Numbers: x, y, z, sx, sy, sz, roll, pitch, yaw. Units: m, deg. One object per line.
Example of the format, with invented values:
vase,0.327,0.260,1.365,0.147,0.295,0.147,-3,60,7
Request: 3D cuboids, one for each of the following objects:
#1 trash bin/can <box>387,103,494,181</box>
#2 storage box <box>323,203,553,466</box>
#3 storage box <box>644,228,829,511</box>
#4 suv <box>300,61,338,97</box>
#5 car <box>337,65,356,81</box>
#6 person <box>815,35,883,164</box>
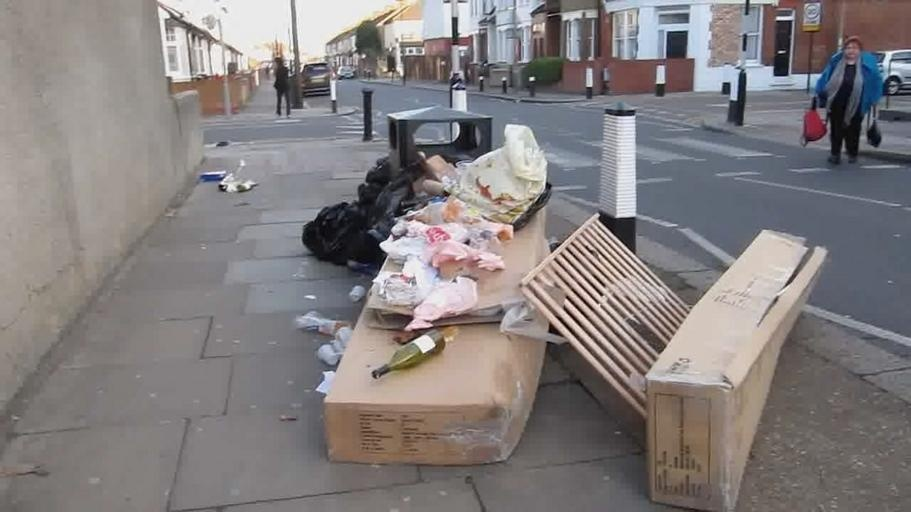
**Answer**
trash bin/can,-0.251,-1.486,9.087,1.067,0.832,1.059,-2,8,-11
storage box,-0.198,0.828,6.532,1.698,0.592,3.091,4,21,5
storage box,2.271,0.969,5.494,0.487,0.558,2.087,4,25,34
suv,-7.973,-10.060,40.587,2.523,1.939,4.336,-4,19,-11
car,-13.970,-23.219,87.987,1.744,1.508,2.797,-3,20,0
person,7.237,-2.835,12.795,1.057,2.256,0.610,7,23,26
